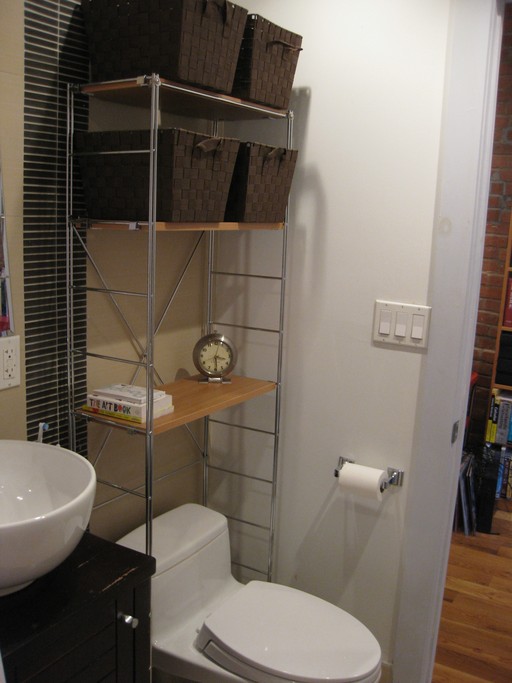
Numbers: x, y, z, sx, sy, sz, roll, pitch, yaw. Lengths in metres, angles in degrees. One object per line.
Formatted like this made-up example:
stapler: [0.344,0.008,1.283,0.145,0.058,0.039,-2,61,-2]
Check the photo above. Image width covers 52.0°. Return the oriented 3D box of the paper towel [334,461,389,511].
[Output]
paper towel: [0.321,0.401,1.531,0.104,0.110,0.082,8,7,33]

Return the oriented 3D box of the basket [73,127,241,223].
basket: [-0.235,-0.314,1.220,0.265,0.205,0.248,2,4,27]

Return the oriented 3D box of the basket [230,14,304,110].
basket: [0.038,-0.699,1.359,0.153,0.169,0.208,15,18,17]

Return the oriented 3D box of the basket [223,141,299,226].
basket: [0.025,-0.415,1.462,0.168,0.237,0.213,14,15,22]

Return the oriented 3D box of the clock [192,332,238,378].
clock: [-0.132,0.040,1.654,0.111,0.153,0.047,0,10,-21]
